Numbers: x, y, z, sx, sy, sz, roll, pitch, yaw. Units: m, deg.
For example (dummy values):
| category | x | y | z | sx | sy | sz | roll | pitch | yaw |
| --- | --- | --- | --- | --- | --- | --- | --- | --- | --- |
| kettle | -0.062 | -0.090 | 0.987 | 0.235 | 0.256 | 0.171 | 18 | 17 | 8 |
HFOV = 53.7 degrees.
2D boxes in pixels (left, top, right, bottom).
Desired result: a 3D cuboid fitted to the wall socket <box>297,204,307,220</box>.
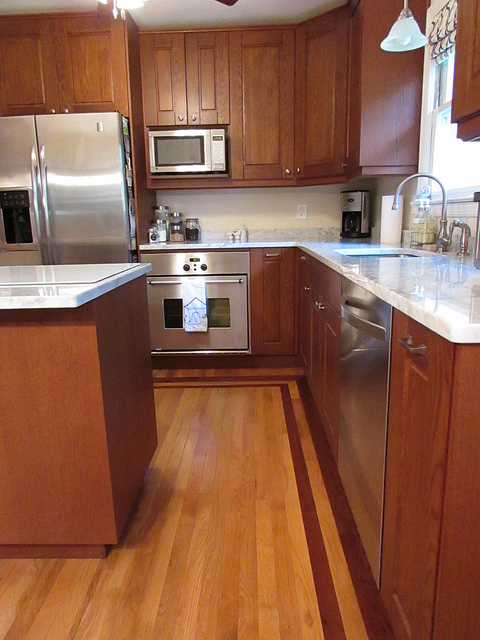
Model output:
| category | x | y | z | sx | sy | sz | roll | pitch | yaw |
| --- | --- | --- | --- | --- | --- | --- | --- | --- | --- |
| wall socket | 0.494 | -0.867 | 3.769 | 0.080 | 0.156 | 0.015 | 0 | 10 | 0 |

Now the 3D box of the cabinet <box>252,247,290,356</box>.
| category | x | y | z | sx | sy | sz | roll | pitch | yaw |
| --- | --- | --- | --- | --- | --- | --- | --- | --- | --- |
| cabinet | 0.211 | -0.116 | 3.413 | 0.322 | 0.758 | 0.311 | -3 | -1 | -16 |

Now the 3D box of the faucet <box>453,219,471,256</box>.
| category | x | y | z | sx | sy | sz | roll | pitch | yaw |
| --- | --- | --- | --- | --- | --- | --- | --- | --- | --- |
| faucet | 0.845 | -0.315 | 1.809 | 0.060 | 0.136 | 0.116 | 4 | 11 | 33 |

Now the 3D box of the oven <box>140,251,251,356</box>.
| category | x | y | z | sx | sy | sz | roll | pitch | yaw |
| --- | --- | --- | --- | --- | --- | --- | --- | --- | --- |
| oven | -0.301 | -0.016 | 3.488 | 0.750 | 0.956 | 0.591 | -1 | 7 | -1 |

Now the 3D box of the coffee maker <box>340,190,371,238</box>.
| category | x | y | z | sx | sy | sz | roll | pitch | yaw |
| --- | --- | --- | --- | --- | --- | --- | --- | --- | --- |
| coffee maker | 0.818 | -0.767 | 3.426 | 0.192 | 0.344 | 0.156 | 3 | 12 | 26 |

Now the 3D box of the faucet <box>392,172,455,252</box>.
| category | x | y | z | sx | sy | sz | roll | pitch | yaw |
| --- | --- | --- | --- | --- | --- | --- | --- | --- | --- |
| faucet | 0.767 | -0.430 | 1.967 | 0.205 | 0.372 | 0.116 | 3 | 28 | 26 |
